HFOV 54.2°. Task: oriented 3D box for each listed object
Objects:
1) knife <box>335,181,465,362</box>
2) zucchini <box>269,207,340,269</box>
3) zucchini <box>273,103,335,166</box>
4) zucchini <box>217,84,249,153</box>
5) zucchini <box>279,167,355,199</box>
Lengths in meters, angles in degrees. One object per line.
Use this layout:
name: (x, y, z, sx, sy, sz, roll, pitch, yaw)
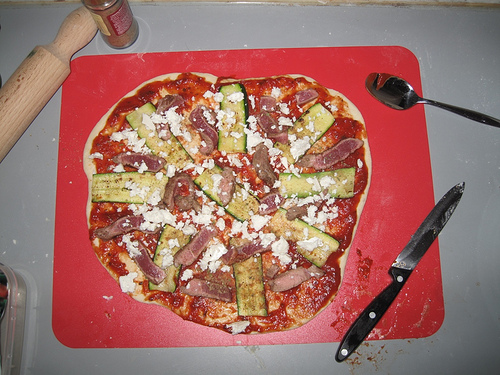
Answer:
knife: (1.175, 0.637, 3.796, 0.157, 0.080, 1.711, 36, 82, 4)
zucchini: (0.419, 0.379, 3.869, 0.615, 0.074, 0.319, 34, 88, 3)
zucchini: (0.428, -0.436, 3.850, 0.533, 0.048, 0.237, -44, 85, -7)
zucchini: (-0.135, -0.556, 3.859, 0.229, 0.071, 0.546, 1, 82, -2)
zucchini: (0.523, -0.021, 3.798, 0.592, 0.063, 0.223, -4, 82, -3)
